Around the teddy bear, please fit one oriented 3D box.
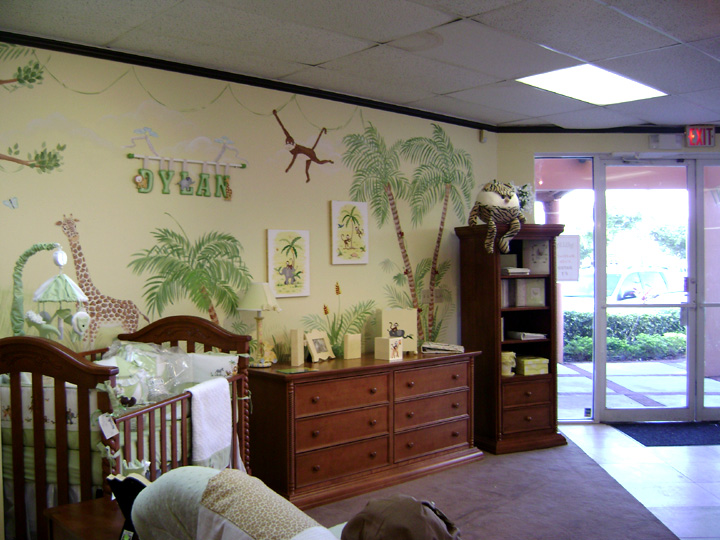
[{"bbox_3d":[1.365,-0.510,5.776,0.575,0.706,0.406,0,5,-5],"label":"teddy bear"}]
